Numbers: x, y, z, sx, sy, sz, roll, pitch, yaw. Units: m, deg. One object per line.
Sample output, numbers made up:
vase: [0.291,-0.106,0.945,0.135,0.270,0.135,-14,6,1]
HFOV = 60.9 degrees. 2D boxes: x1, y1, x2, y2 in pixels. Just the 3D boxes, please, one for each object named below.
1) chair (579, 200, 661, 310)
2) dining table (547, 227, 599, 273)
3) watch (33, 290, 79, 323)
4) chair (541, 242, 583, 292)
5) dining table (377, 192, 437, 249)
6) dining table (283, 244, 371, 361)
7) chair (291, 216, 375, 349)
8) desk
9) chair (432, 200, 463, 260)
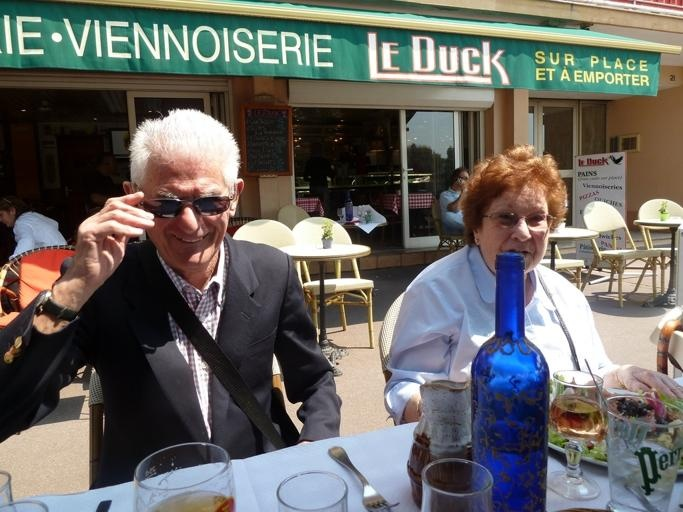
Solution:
chair: [3.453,-0.061,7.299,0.675,1.272,0.854,-3,6,-15]
dining table: [2.402,-0.028,6.476,0.508,0.368,0.555,4,4,8]
watch: [-0.923,0.176,1.883,0.099,0.044,0.095,36,-22,-20]
chair: [2.589,0.092,6.812,0.378,0.647,0.381,0,19,21]
dining table: [1.092,-0.633,9.819,0.909,0.940,0.832,-1,2,-14]
dining table: [-0.147,0.377,5.164,0.835,1.045,0.905,0,3,1]
chair: [-0.116,0.248,5.608,0.716,1.258,0.817,-4,4,-11]
desk: [0.316,0.056,7.506,0.728,0.971,0.793,1,17,-3]
chair: [1.682,-0.320,8.800,0.479,0.978,0.580,-7,-7,36]
